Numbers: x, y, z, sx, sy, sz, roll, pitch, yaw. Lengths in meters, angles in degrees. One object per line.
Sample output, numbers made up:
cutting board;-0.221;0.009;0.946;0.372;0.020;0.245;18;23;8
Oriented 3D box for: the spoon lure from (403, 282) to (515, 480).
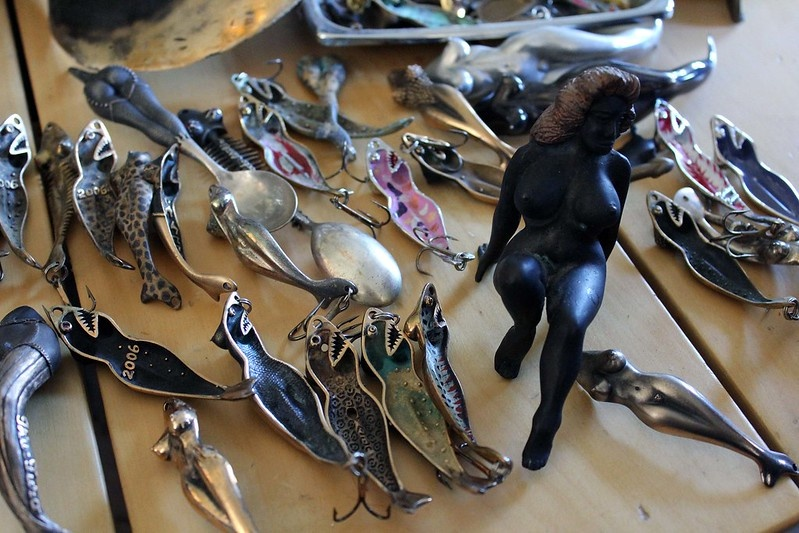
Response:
spoon lure;0.040;0.173;1.656;0.188;0.068;0.451;-45;28;-13
